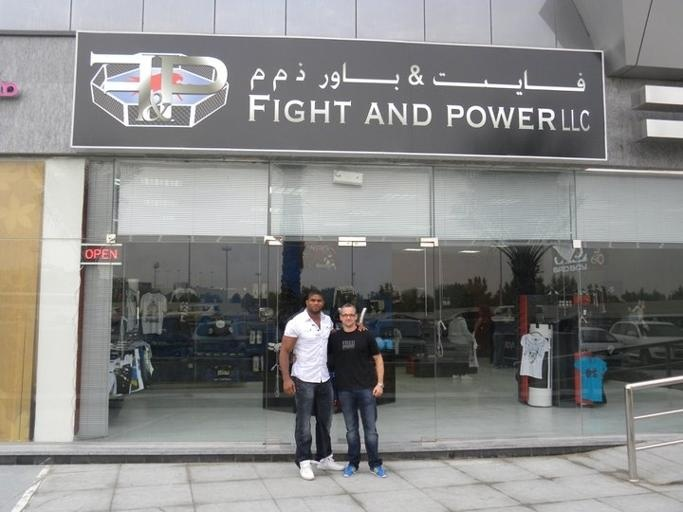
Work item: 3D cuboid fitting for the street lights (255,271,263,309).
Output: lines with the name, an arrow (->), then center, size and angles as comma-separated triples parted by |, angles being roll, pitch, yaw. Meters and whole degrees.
street lights -> -1.340, 0.551, 10.034 | 0.112, 0.598, 0.086 | 0, 5, -3

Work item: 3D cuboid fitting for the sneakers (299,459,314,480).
sneakers -> -0.480, 2.986, 8.638 | 0.207, 0.228, 0.285 | -1, 5, -14

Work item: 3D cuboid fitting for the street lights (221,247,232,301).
street lights -> -1.878, 0.287, 10.099 | 0.150, 0.893, 0.133 | 0, 5, -9

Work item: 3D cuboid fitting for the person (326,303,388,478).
person -> 0.214, 1.914, 8.804 | 0.815, 2.404, 0.574 | 0, 5, 0
